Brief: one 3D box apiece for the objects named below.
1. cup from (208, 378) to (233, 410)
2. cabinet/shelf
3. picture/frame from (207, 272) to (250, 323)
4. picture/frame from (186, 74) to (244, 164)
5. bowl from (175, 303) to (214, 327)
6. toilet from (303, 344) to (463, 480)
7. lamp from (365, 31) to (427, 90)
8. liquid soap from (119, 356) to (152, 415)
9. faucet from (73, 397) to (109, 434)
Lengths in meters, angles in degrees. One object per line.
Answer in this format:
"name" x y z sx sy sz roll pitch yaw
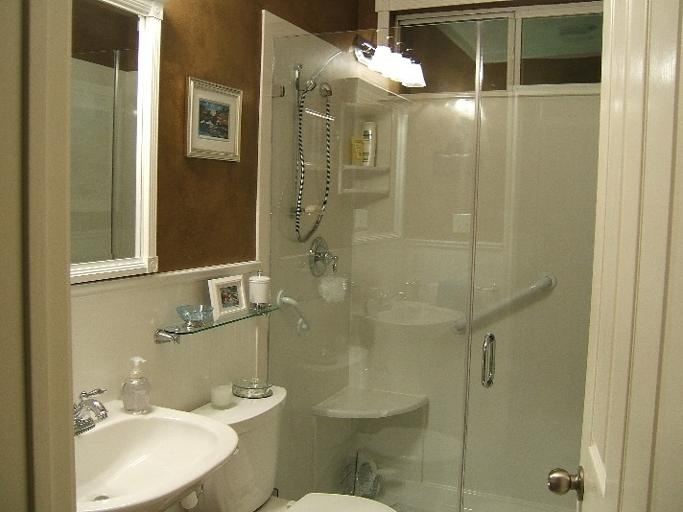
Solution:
"cup" -0.455 0.529 2.354 0.081 0.062 0.083 -1 12 0
"cabinet/shelf" 0.135 -0.440 2.546 0.211 0.295 0.147 2 20 -39
"picture/frame" -0.427 0.157 2.371 0.176 0.152 0.019 -13 -9 35
"picture/frame" -0.487 -0.512 2.328 0.022 0.289 0.304 6 6 31
"bowl" -0.533 0.212 2.229 0.113 0.075 0.133 -2 8 24
"toilet" 0.264 0.565 2.727 0.715 0.699 0.499 -1 2 -35
"lamp" 0.205 -0.790 2.544 0.253 0.092 0.177 26 17 7
"liquid soap" -0.658 0.410 1.958 0.089 0.164 0.092 3 -1 26
"faucet" -0.730 0.451 1.761 0.038 0.092 0.110 0 9 34
